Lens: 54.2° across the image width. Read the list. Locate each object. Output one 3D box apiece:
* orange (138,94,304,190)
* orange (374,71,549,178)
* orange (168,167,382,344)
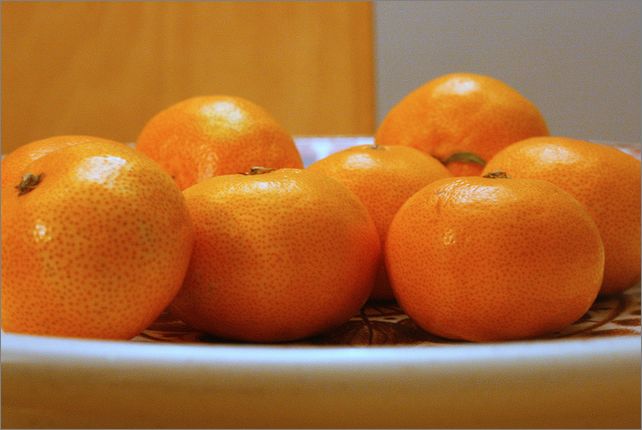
[{"bbox_3d":[-0.096,-0.051,0.580,0.116,0.105,0.079,6,99,-10],"label":"orange"},{"bbox_3d":[0.138,-0.082,0.646,0.129,0.129,0.095,10,106,43],"label":"orange"},{"bbox_3d":[-0.040,0.032,0.513,0.138,0.139,0.097,-3,91,30],"label":"orange"}]
